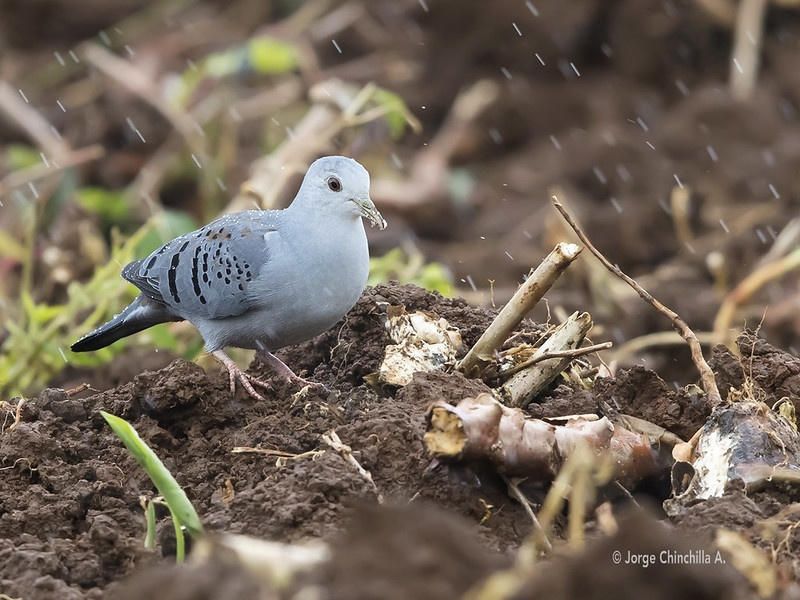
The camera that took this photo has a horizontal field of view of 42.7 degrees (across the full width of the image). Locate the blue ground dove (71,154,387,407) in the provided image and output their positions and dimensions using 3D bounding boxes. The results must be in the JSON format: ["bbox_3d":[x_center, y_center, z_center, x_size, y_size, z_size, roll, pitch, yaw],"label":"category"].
[{"bbox_3d":[-0.650,-0.003,4.554,1.290,0.818,0.898,-11,57,0],"label":"blue ground dove"}]
